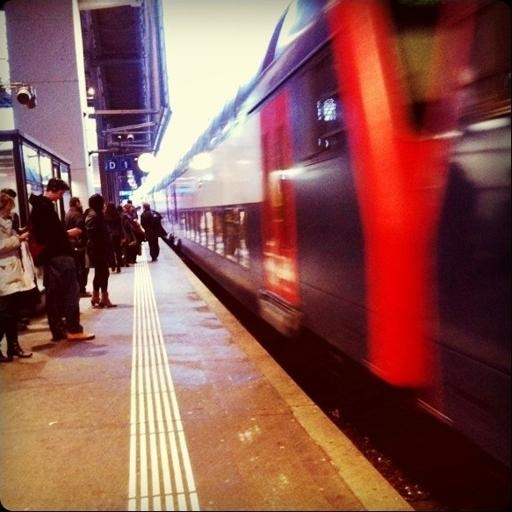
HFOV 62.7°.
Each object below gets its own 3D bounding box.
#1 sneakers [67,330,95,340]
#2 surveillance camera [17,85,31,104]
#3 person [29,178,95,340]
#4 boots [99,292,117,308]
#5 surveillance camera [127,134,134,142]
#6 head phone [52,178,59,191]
[{"bbox_3d":[-2.025,0.917,4.882,0.322,0.152,0.125,-1,4,-21],"label":"sneakers"},{"bbox_3d":[-4.366,-3.024,7.874,0.227,0.373,0.385,-4,5,-29],"label":"surveillance camera"},{"bbox_3d":[-2.303,0.032,4.750,0.599,1.874,0.627,-2,2,24],"label":"person"},{"bbox_3d":[-2.409,0.704,6.710,0.136,0.266,0.351,3,4,27],"label":"boots"},{"bbox_3d":[-5.598,-5.201,18.610,0.234,0.475,0.964,-4,4,-20],"label":"surveillance camera"},{"bbox_3d":[-2.206,-0.785,4.598,0.081,0.124,0.043,0,5,-10],"label":"head phone"}]
